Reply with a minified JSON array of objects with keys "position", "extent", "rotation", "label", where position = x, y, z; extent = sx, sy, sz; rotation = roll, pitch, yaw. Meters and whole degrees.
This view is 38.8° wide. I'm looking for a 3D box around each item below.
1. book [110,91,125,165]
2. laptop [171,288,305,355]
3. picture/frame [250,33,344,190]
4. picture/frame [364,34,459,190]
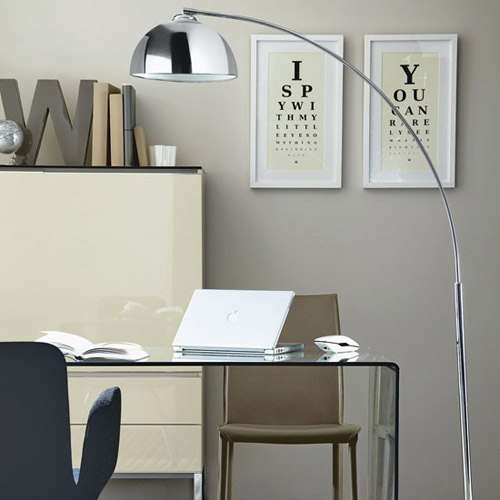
[{"position":[-0.622,-0.560,3.314],"extent":[0.064,0.329,0.093],"rotation":[-2,7,-12],"label":"book"},{"position":[-0.053,0.241,2.383],"extent":[0.346,0.166,0.291],"rotation":[1,7,15],"label":"laptop"},{"position":[0.234,-0.703,3.582],"extent":[0.449,0.850,0.037],"rotation":[0,-11,4],"label":"picture/frame"},{"position":[0.798,-0.701,3.574],"extent":[0.458,0.898,0.040],"rotation":[1,-18,9],"label":"picture/frame"}]
